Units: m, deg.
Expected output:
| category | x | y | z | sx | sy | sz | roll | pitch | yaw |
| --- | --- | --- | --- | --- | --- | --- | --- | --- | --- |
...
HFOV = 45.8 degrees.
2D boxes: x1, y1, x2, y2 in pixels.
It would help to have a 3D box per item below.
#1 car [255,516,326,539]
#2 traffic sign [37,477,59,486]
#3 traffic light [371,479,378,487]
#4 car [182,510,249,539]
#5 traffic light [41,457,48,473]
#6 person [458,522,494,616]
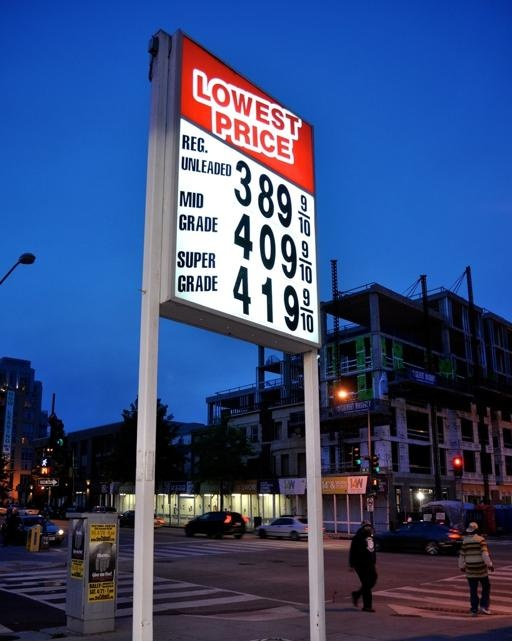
| category | x | y | z | sx | sy | sz | roll | pitch | yaw |
| --- | --- | --- | --- | --- | --- | --- | --- | --- | --- |
| car | 1.837 | 12.855 | 37.439 | 0.722 | 1.330 | 4.519 | 8 | -17 | -37 |
| traffic sign | -8.032 | 6.207 | 23.400 | 0.652 | 0.296 | 0.676 | 3 | -14 | -20 |
| traffic light | 6.792 | 9.262 | 34.575 | 0.224 | 0.586 | 0.801 | -8 | -15 | 28 |
| car | -2.434 | 13.431 | 39.912 | 4.038 | 1.669 | 1.983 | -9 | -15 | 27 |
| traffic light | -8.175 | 5.652 | 23.496 | 0.331 | 0.573 | 0.231 | -6 | -13 | 19 |
| person | 4.155 | 4.650 | 11.408 | 0.574 | 1.639 | 0.898 | -5 | -13 | 18 |
